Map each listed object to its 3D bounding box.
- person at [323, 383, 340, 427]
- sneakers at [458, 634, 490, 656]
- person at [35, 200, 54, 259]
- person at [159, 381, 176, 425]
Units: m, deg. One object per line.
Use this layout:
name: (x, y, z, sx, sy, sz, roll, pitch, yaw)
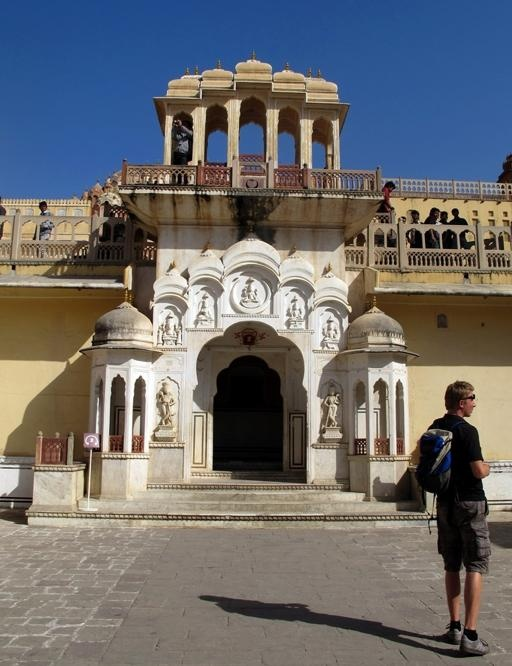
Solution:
person: (1.334, 1.314, 12.919, 0.316, 0.784, 0.158, 0, -3, 5)
sneakers: (1.686, 2.369, 5.472, 0.274, 0.115, 0.105, 5, -13, -18)
person: (-4.714, -2.232, 15.563, 0.567, 1.228, 0.314, 7, 9, 15)
person: (-1.595, 1.255, 12.823, 0.296, 0.797, 0.233, -2, -4, 42)
